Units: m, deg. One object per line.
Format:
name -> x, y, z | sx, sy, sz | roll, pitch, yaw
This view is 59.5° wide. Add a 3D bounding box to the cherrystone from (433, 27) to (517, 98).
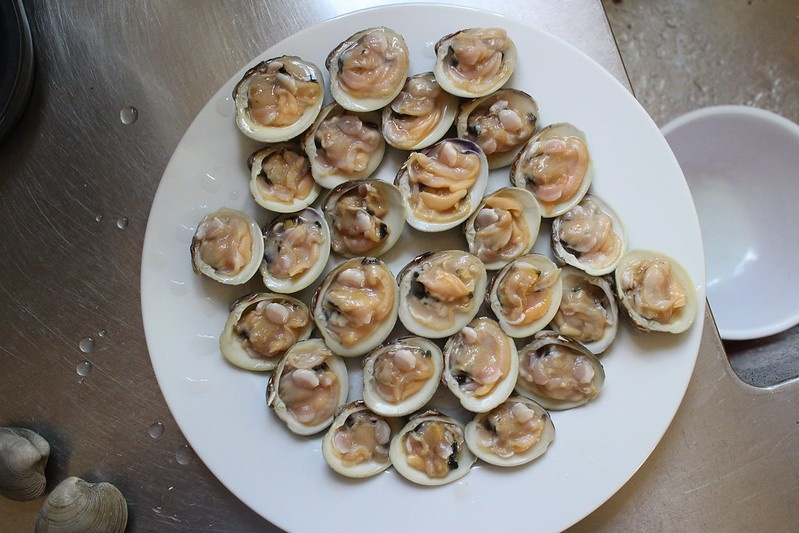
cherrystone -> 0.270, -0.723, 2.475 | 0.254, 0.100, 0.247 | -25, 91, 8
